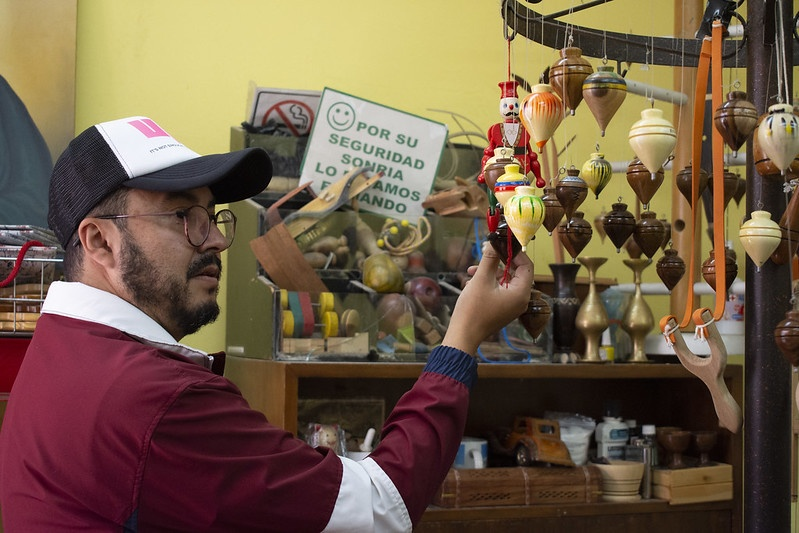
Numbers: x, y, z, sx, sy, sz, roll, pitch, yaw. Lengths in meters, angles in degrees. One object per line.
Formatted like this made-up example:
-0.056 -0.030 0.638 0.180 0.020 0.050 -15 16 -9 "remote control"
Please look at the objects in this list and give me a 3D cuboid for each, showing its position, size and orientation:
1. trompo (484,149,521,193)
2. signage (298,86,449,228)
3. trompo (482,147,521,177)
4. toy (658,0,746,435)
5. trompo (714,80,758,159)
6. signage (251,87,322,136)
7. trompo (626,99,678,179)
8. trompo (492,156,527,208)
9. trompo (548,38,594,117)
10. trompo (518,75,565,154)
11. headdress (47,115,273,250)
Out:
0.223 -0.215 2.633 0.080 0.101 0.083 0 2 32 "trompo"
-0.093 -0.301 3.381 0.350 0.293 0.049 23 -7 -12 "signage"
0.228 -0.229 2.586 0.059 0.047 0.063 2 -2 -13 "trompo"
0.727 -0.091 2.843 0.174 0.996 0.648 -1 -9 15 "toy"
0.732 -0.323 2.539 0.099 0.186 0.111 4 -4 -9 "trompo"
-0.341 -0.451 3.384 0.145 0.022 0.162 5 -51 -11 "signage"
0.564 -0.271 2.600 0.094 0.161 0.098 -5 -10 33 "trompo"
0.234 -0.180 2.516 0.076 0.104 0.083 3 -6 -24 "trompo"
0.383 -0.420 2.618 0.086 0.153 0.086 2 -6 -29 "trompo"
0.302 -0.330 2.566 0.110 0.198 0.129 1 -6 5 "trompo"
-0.539 -0.204 2.539 0.420 0.225 0.284 -26 2 9 "headdress"
